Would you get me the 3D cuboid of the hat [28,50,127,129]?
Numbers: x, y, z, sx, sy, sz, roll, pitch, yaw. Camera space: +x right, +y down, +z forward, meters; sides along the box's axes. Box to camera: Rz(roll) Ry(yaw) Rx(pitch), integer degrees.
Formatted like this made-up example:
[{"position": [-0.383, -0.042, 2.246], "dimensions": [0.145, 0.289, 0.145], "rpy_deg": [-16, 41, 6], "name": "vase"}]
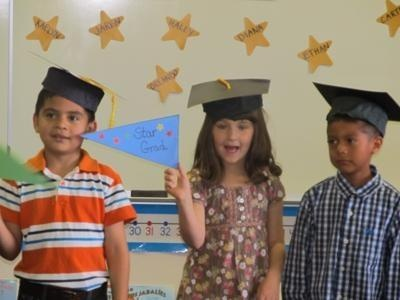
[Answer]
[{"position": [-0.603, -0.307, 2.505], "dimensions": [0.341, 0.099, 0.332], "rpy_deg": [27, -6, 42], "name": "hat"}]
